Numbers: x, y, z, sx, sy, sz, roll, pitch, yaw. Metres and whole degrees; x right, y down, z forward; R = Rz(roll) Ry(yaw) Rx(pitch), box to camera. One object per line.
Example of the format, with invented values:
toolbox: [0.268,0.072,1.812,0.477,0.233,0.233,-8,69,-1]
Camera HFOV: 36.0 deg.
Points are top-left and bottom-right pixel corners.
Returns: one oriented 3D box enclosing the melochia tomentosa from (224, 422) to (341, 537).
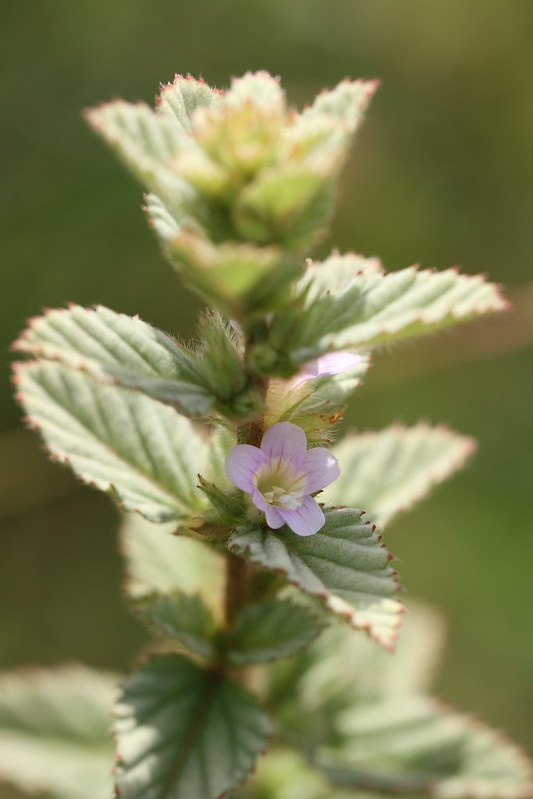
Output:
melochia tomentosa: [0.017,0.128,1.262,0.216,0.094,0.171,9,68,-27]
